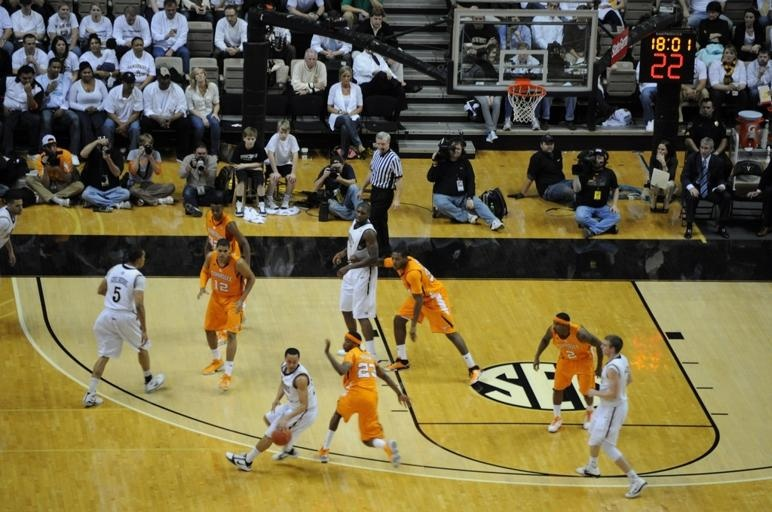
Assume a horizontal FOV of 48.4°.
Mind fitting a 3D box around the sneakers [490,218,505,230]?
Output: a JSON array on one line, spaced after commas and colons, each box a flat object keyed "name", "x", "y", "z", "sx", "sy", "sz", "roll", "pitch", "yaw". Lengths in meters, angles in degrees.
[{"name": "sneakers", "x": 2.127, "y": -0.595, "z": 16.548, "sx": 0.266, "sy": 0.238, "sz": 0.201, "roll": 3, "pitch": 11, "yaw": 4}]

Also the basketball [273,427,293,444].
[{"name": "basketball", "x": -1.314, "y": 2.246, "z": 10.863, "sx": 0.204, "sy": 0.220, "sz": 0.238, "roll": -8, "pitch": -3, "yaw": -38}]

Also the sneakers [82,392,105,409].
[{"name": "sneakers", "x": -4.024, "y": 2.006, "z": 11.936, "sx": 0.349, "sy": 0.253, "sz": 0.127, "roll": -10, "pitch": 35, "yaw": -23}]

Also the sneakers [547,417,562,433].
[{"name": "sneakers", "x": 2.338, "y": 2.355, "z": 11.972, "sx": 0.103, "sy": 0.145, "sz": 0.320, "roll": 1, "pitch": 8, "yaw": 23}]

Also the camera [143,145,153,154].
[{"name": "camera", "x": -4.514, "y": -2.013, "z": 16.310, "sx": 0.127, "sy": 0.143, "sz": 0.138, "roll": -6, "pitch": 4, "yaw": -11}]

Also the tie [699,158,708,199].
[{"name": "tie", "x": 6.108, "y": -1.511, "z": 16.525, "sx": 0.178, "sy": 0.724, "sz": 0.071, "roll": 4, "pitch": 11, "yaw": 13}]

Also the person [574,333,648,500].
[{"name": "person", "x": 2.911, "y": 2.031, "z": 11.021, "sx": 0.805, "sy": 2.041, "sz": 0.589, "roll": 5, "pitch": 11, "yaw": 17}]

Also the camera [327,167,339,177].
[{"name": "camera", "x": -1.010, "y": -1.610, "z": 16.419, "sx": 0.190, "sy": 0.134, "sz": 0.190, "roll": 10, "pitch": 8, "yaw": 21}]

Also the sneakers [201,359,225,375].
[{"name": "sneakers", "x": -2.558, "y": 1.648, "z": 12.763, "sx": 0.354, "sy": 0.183, "sz": 0.144, "roll": -32, "pitch": 31, "yaw": -6}]

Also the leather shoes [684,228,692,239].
[{"name": "leather shoes", "x": 5.798, "y": -0.429, "z": 16.508, "sx": 0.154, "sy": 0.204, "sz": 0.294, "roll": 6, "pitch": 11, "yaw": 19}]

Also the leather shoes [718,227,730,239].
[{"name": "leather shoes", "x": 6.514, "y": -0.461, "z": 16.558, "sx": 0.110, "sy": 0.237, "sz": 0.324, "roll": -15, "pitch": 22, "yaw": -15}]

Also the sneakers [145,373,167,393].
[{"name": "sneakers", "x": -3.298, "y": 1.817, "z": 12.368, "sx": 0.137, "sy": 0.152, "sz": 0.324, "roll": 9, "pitch": 31, "yaw": 26}]

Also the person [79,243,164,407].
[{"name": "person", "x": -3.663, "y": 0.993, "z": 11.974, "sx": 0.964, "sy": 2.230, "sz": 0.623, "roll": 1, "pitch": 10, "yaw": -3}]

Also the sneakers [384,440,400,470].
[{"name": "sneakers", "x": 0.082, "y": 2.534, "z": 11.030, "sx": 0.184, "sy": 0.441, "sz": 0.151, "roll": -6, "pitch": 27, "yaw": 18}]

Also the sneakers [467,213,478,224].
[{"name": "sneakers", "x": 1.692, "y": -0.730, "z": 16.800, "sx": 0.186, "sy": 0.176, "sz": 0.133, "roll": 13, "pitch": -22, "yaw": -36}]

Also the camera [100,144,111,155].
[{"name": "camera", "x": -5.211, "y": -1.981, "z": 15.990, "sx": 0.139, "sy": 0.192, "sz": 0.187, "roll": 5, "pitch": 14, "yaw": -10}]

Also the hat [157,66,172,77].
[{"name": "hat", "x": -4.559, "y": -3.772, "z": 17.681, "sx": 0.199, "sy": 0.161, "sz": 0.293, "roll": -9, "pitch": 23, "yaw": -26}]

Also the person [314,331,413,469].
[{"name": "person", "x": -0.354, "y": 1.897, "z": 11.064, "sx": 0.972, "sy": 1.754, "sz": 0.510, "roll": 2, "pitch": 10, "yaw": -1}]

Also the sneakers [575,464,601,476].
[{"name": "sneakers", "x": 2.622, "y": 2.817, "z": 11.281, "sx": 0.343, "sy": 0.189, "sz": 0.132, "roll": 6, "pitch": 22, "yaw": 9}]
